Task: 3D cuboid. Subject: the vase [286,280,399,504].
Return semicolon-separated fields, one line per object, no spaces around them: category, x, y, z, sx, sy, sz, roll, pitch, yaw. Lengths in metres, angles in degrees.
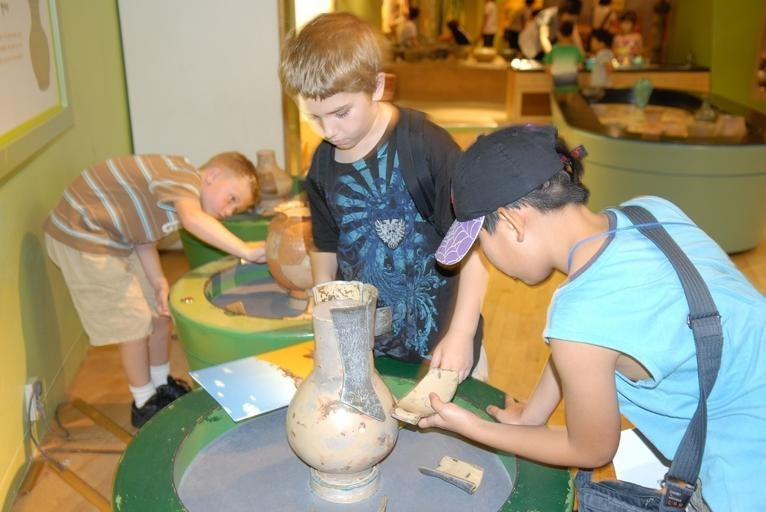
vase;-0.102;0.384;1.613;0.278;0.572;0.317;9;26;28

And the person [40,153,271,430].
person;-1.162;0.175;2.947;1.014;1.346;0.750;-6;8;-35
